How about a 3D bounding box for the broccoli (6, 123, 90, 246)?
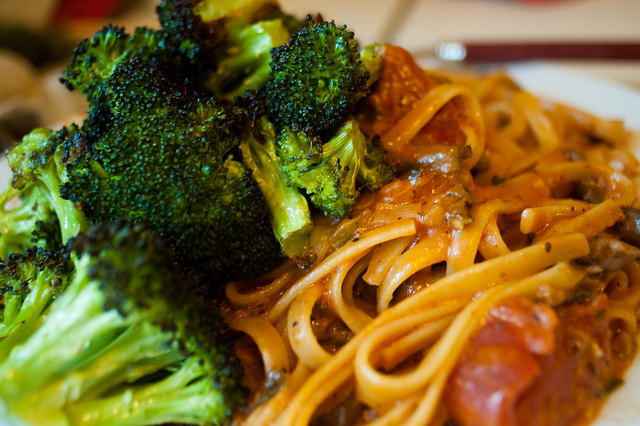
[{"bbox_3d":[-1.319,-0.120,2.987,0.566,0.297,0.246,49,-8,14],"label":"broccoli"}]
